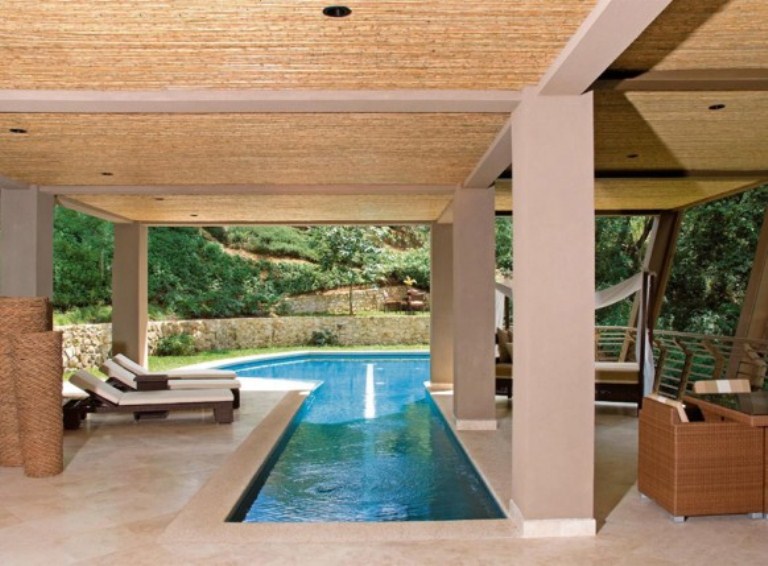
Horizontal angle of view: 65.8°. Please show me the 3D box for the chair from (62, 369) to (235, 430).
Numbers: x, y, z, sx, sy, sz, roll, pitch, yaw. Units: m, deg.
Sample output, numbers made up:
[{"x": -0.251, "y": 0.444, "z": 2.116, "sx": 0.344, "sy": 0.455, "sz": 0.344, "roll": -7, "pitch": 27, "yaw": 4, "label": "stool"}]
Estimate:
[{"x": -3.448, "y": 1.719, "z": 8.732, "sx": 2.373, "sy": 0.551, "sz": 1.041, "roll": 0, "pitch": 1, "yaw": -10, "label": "chair"}]

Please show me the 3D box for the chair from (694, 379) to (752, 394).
[{"x": 3.523, "y": 1.071, "z": 6.114, "sx": 0.731, "sy": 0.117, "sz": 0.310, "roll": 0, "pitch": 0, "yaw": -6, "label": "chair"}]

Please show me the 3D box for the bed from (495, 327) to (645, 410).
[{"x": 3.093, "y": 1.559, "z": 10.048, "sx": 2.230, "sy": 0.812, "sz": 1.828, "roll": 1, "pitch": 0, "yaw": 12, "label": "bed"}]
